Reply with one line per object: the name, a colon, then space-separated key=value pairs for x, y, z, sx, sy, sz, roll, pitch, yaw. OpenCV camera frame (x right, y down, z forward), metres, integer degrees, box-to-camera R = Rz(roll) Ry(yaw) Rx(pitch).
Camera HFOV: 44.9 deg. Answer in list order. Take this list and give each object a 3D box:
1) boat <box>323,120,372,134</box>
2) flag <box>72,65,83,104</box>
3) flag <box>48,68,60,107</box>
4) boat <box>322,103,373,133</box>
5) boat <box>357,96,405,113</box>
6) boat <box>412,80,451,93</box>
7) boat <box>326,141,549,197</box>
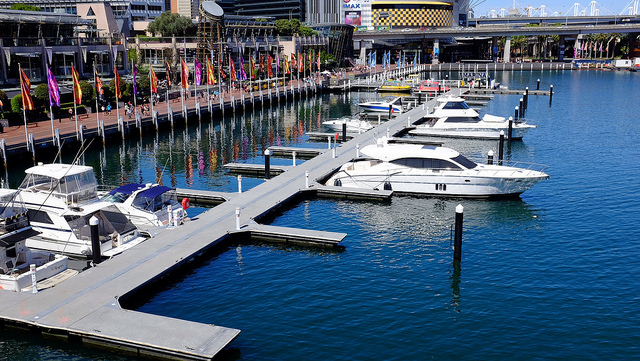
boat: x=3.053 y=-6.801 z=97.104 sx=6.519 sy=1.548 sz=1.994 roll=6 pitch=22 yaw=20
flag: x=-29.667 y=-11.382 z=93.749 sx=0.876 sy=4.721 sz=4.781 roll=-5 pitch=17 yaw=-17
flag: x=-31.183 y=-10.822 z=89.728 sx=0.959 sy=4.366 sz=2.376 roll=-6 pitch=18 yaw=-20
boat: x=3.014 y=-7.280 z=98.090 sx=8.205 sy=2.558 sz=2.630 roll=9 pitch=23 yaw=34
boat: x=8.963 y=-10.497 z=108.735 sx=3.893 sy=1.857 sz=6.418 roll=-12 pitch=19 yaw=-40
boat: x=19.256 y=-16.455 z=134.677 sx=6.092 sy=1.885 sz=4.572 roll=3 pitch=19 yaw=16
boat: x=11.137 y=-0.528 z=76.664 sx=21.310 sy=3.966 sz=5.085 roll=2 pitch=5 yaw=7
